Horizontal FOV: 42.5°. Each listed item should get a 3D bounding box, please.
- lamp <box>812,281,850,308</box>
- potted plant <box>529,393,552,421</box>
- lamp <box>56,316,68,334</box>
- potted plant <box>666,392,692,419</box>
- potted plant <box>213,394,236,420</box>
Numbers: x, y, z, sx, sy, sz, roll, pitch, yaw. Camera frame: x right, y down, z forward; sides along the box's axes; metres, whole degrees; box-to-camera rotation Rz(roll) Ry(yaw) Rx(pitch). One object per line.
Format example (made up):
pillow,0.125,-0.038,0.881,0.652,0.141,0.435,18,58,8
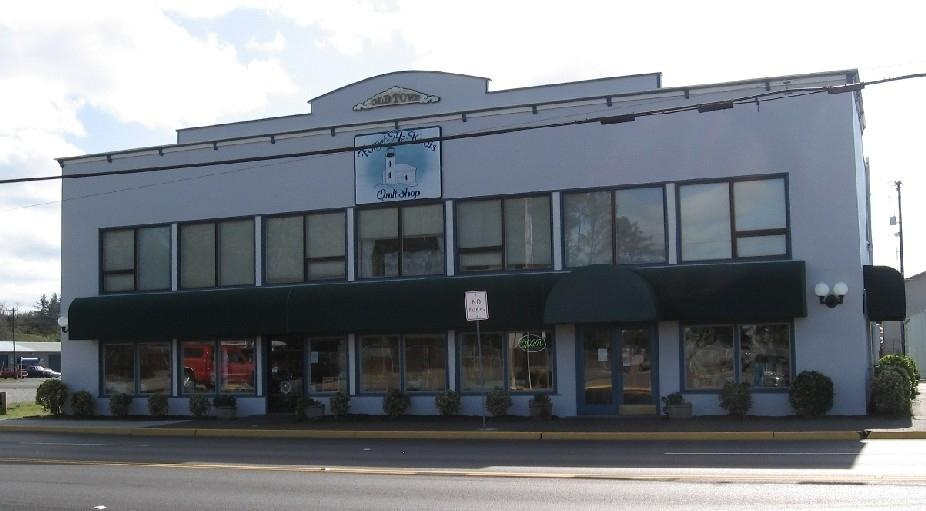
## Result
lamp,15.656,1.646,50.219,1.597,1.277,1.022,-2,-14,12
potted plant,3.483,6.491,51.802,1.029,0.954,0.988,-1,-8,5
lamp,-18.861,3.277,56.416,0.320,0.864,1.166,-8,12,-27
potted plant,9.270,6.332,50.748,1.099,1.006,1.017,1,-3,-6
potted plant,-10.767,6.792,53.890,1.025,0.915,0.989,0,0,11
